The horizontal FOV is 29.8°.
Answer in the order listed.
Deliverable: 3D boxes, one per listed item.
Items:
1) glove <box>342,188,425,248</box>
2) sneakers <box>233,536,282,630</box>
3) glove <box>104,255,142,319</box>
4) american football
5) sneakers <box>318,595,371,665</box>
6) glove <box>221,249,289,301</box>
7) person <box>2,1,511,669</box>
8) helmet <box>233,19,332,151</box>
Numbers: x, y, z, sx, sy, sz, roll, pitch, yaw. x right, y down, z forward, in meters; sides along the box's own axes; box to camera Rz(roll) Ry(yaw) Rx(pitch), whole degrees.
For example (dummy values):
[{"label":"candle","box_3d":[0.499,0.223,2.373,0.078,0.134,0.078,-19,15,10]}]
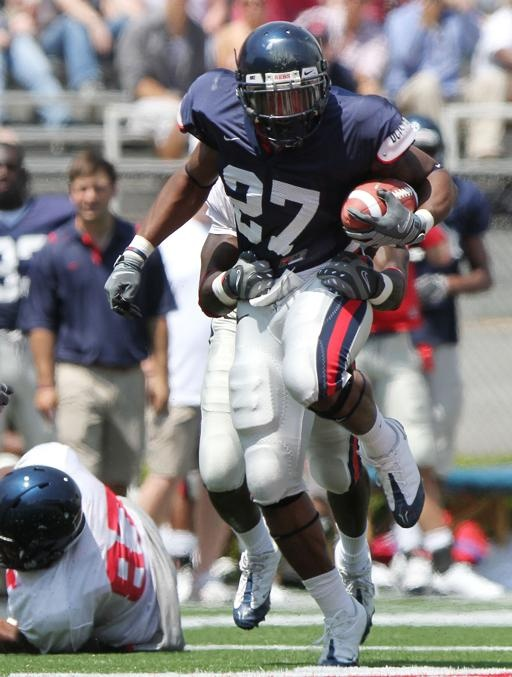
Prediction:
[{"label":"glove","box_3d":[0.317,-0.303,2.369,0.153,0.096,0.185,3,-6,21]},{"label":"sneakers","box_3d":[0.007,0.725,2.890,0.114,0.277,0.145,5,-25,18]},{"label":"glove","box_3d":[-0.397,-0.150,2.818,0.096,0.173,0.123,-22,-38,33]},{"label":"american football","box_3d":[0.330,-0.335,2.370,0.228,0.117,0.114,-23,27,-25]},{"label":"sneakers","box_3d":[0.228,0.716,2.385,0.081,0.095,0.218,-9,36,32]},{"label":"glove","box_3d":[-0.012,-0.151,2.532,0.166,0.126,0.105,-10,53,-10]},{"label":"person","box_3d":[0.121,0.024,2.571,0.624,1.691,0.904,-10,16,-34]},{"label":"helmet","box_3d":[0.056,-0.626,2.428,0.278,0.274,0.303,-5,47,2]}]
